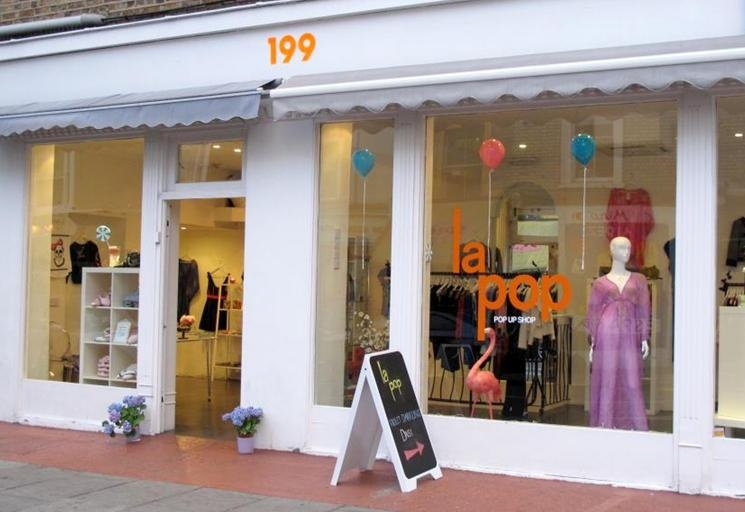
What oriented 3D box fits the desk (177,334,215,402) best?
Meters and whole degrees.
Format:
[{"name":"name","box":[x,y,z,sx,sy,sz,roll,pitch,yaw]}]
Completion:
[{"name":"desk","box":[-3.616,1.981,13.966,0.687,1.653,0.743,0,2,25]}]

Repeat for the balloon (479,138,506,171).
[{"name":"balloon","box":[1.422,-1.171,8.311,0.307,0.414,0.326,0,-4,18]}]

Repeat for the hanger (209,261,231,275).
[{"name":"hanger","box":[-3.151,0.228,14.554,0.282,0.223,0.036,2,-33,12]}]

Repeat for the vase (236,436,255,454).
[{"name":"vase","box":[-1.569,2.299,8.681,0.186,0.150,0.191,2,-4,-29]}]

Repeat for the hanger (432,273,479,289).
[{"name":"hanger","box":[0.993,0.274,8.499,0.601,0.290,0.188,-1,0,11]}]

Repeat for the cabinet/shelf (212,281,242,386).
[{"name":"cabinet/shelf","box":[-2.916,1.483,14.014,0.614,2.702,0.569,0,3,27]}]

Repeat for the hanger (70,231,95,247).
[{"name":"hanger","box":[-4.198,-0.286,10.159,0.418,0.219,0.016,0,-3,21]}]

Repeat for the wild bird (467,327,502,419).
[{"name":"wild bird","box":[1.298,1.328,8.179,0.395,1.009,0.135,1,-3,8]}]

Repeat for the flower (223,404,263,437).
[{"name":"flower","box":[-1.585,1.999,8.748,0.389,0.308,0.405,0,1,-20]}]

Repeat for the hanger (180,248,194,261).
[{"name":"hanger","box":[-3.912,-0.040,14.796,0.252,0.033,0.270,-11,45,-17]}]

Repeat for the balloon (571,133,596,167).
[{"name":"balloon","box":[2.432,-1.224,8.090,0.274,0.372,0.296,-3,4,-29]}]

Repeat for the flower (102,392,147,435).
[{"name":"flower","box":[-3.269,2.079,9.274,0.555,0.557,0.592,1,-3,-3]}]

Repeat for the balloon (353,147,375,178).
[{"name":"balloon","box":[-0.103,-1.184,8.891,0.286,0.455,0.302,-2,3,9]}]
